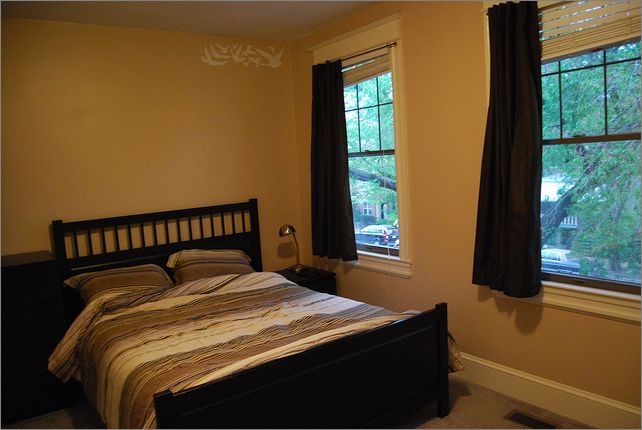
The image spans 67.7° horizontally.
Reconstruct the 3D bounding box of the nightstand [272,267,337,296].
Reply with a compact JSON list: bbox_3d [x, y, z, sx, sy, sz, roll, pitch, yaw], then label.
[{"bbox_3d":[-0.117,0.692,5.212,0.384,0.250,0.393,8,14,44],"label":"nightstand"}]
